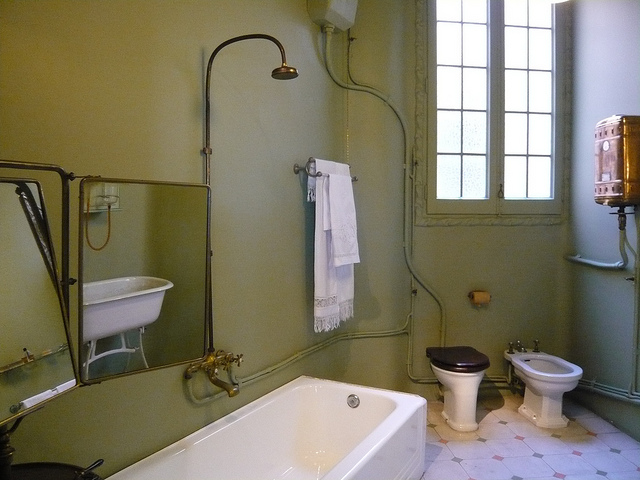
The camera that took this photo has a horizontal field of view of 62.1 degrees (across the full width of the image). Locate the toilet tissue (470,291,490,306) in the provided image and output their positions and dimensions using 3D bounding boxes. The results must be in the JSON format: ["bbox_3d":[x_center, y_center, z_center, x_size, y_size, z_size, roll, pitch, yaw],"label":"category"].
[{"bbox_3d":[1.320,0.474,4.342,0.125,0.125,0.108,0,-7,-4],"label":"toilet tissue"}]

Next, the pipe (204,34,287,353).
[{"bbox_3d":[-0.419,-0.267,2.971,0.482,1.743,0.512,-3,11,-13],"label":"pipe"}]

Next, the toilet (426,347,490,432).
[{"bbox_3d":[1.069,1.144,4.093,0.413,0.560,0.585,-1,1,-4],"label":"toilet"}]

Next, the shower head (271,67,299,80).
[{"bbox_3d":[-0.175,-0.882,2.826,0.128,0.053,0.181,1,11,7],"label":"shower head"}]

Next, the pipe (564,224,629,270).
[{"bbox_3d":[2.165,0.027,4.181,0.430,0.075,0.475,11,56,21],"label":"pipe"}]

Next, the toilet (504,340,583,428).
[{"bbox_3d":[1.737,1.118,4.147,0.382,0.545,0.711,-3,3,-9],"label":"toilet"}]

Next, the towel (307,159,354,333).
[{"bbox_3d":[0.049,0.021,3.648,0.248,1.129,0.491,6,12,33],"label":"towel"}]
